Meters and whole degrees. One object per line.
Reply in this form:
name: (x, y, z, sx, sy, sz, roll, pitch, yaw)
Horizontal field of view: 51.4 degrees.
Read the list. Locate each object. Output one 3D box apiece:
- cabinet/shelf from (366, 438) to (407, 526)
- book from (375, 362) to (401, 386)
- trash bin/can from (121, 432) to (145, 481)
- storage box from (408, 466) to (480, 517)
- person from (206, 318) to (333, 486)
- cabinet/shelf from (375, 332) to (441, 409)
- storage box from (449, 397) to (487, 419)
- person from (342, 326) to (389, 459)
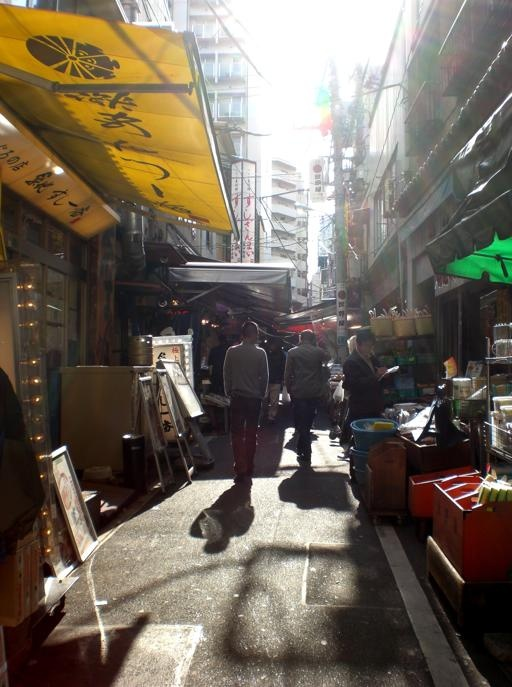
cabinet/shelf: (1.269, 1.157, 5.115, 0.430, 0.881, 0.846, 0, -5, 7)
book: (2.004, 0.475, 8.069, 0.286, 0.095, 0.285, -35, 14, -24)
trash bin/can: (-1.403, 1.335, 6.024, 0.321, 0.603, 0.180, -4, 1, 15)
storage box: (1.351, 1.068, 3.836, 0.505, 0.290, 0.300, -1, 0, -10)
person: (-0.154, 0.730, 6.850, 0.538, 2.027, 0.949, -4, 1, 18)
cabinet/shelf: (2.535, 0.456, 8.978, 0.972, 1.072, 0.358, -3, 4, -11)
storage box: (1.880, 0.588, 4.752, 0.097, 0.170, 0.322, -5, 0, -39)
person: (1.464, 0.623, 7.343, 0.592, 1.539, 0.943, -4, 1, 7)
